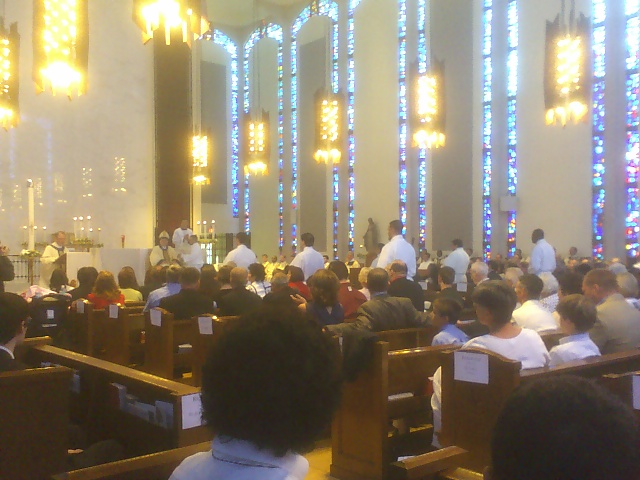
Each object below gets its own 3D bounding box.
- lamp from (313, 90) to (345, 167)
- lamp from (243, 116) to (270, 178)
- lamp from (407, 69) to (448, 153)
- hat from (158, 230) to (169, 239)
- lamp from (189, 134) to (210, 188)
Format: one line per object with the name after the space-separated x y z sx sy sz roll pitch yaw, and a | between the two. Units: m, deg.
0.161 -2.229 12.559 0.560 1.189 0.712 -1 -2 -1 | lamp
-1.653 -2.459 16.323 0.672 1.328 1.276 -1 -2 -7 | lamp
1.984 -2.402 11.714 0.590 1.107 1.810 -2 -2 9 | lamp
-3.233 -0.106 13.068 0.250 0.129 0.375 -1 2 -10 | hat
-3.439 -2.335 18.151 0.435 1.319 2.018 -1 -2 -12 | lamp
